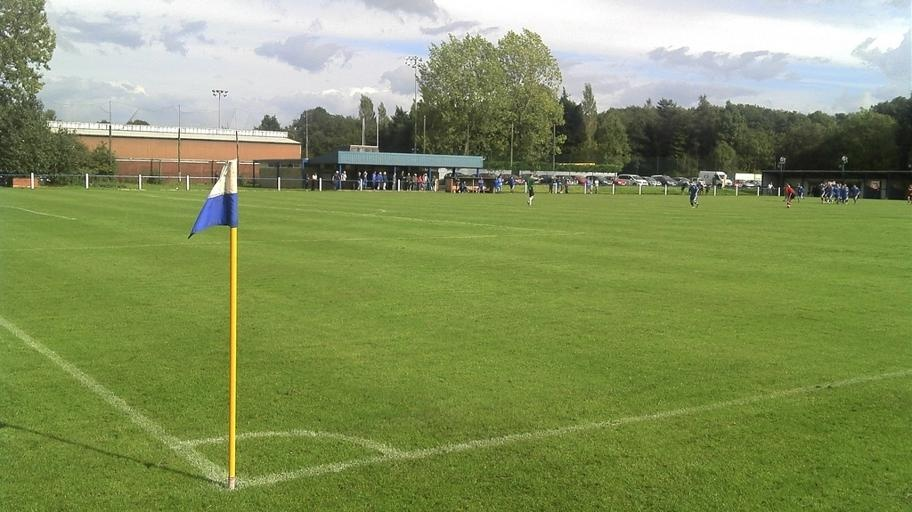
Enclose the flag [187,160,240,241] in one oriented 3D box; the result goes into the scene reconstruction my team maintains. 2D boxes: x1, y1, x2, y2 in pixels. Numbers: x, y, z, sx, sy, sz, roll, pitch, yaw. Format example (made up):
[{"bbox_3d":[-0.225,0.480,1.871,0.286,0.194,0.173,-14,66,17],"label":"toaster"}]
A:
[{"bbox_3d":[-2.726,-0.661,8.404,0.517,0.830,0.544,-2,10,-18],"label":"flag"}]
